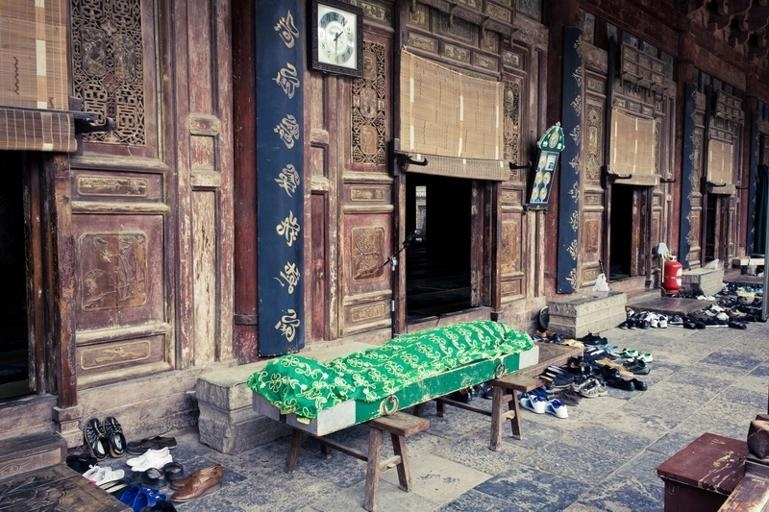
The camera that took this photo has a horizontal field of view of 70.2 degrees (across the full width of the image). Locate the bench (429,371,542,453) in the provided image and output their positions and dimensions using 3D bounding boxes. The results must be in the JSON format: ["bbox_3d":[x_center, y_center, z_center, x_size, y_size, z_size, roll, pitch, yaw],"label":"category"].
[{"bbox_3d":[1.142,1.523,5.727,0.764,0.651,0.772,-4,11,-27],"label":"bench"}]
